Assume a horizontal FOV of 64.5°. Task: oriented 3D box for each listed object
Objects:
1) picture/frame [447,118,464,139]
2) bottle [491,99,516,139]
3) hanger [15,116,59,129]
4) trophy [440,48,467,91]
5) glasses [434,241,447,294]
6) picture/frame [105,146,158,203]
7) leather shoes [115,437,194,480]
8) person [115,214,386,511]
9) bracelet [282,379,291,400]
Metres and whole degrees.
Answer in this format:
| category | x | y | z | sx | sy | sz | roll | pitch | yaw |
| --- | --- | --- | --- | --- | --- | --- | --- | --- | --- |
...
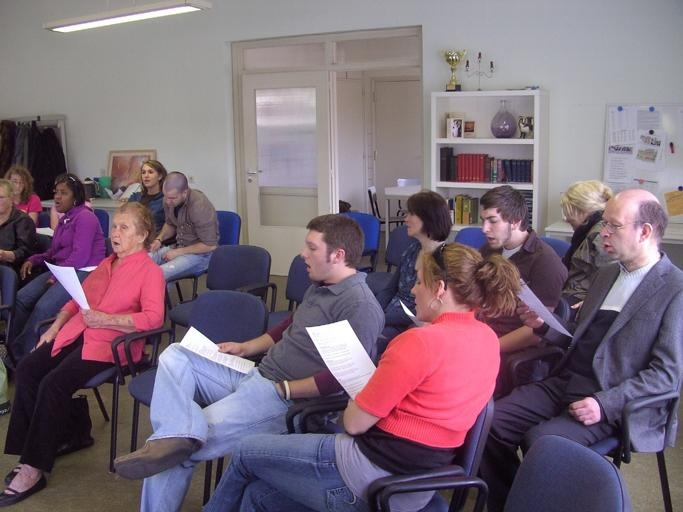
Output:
| category | x | y | z | sx | sy | sz | roll | pitch | yaw |
| --- | --- | --- | --- | --- | --- | --- | --- | --- | --- |
| picture/frame | 1.146 | -1.296 | 5.474 | 0.201 | 0.215 | 0.070 | 2 | 0 | -18 |
| bottle | 1.612 | -1.351 | 5.345 | 0.229 | 0.393 | 0.222 | -1 | 8 | 0 |
| hanger | -4.386 | -1.928 | 7.781 | 0.838 | 0.182 | 0.254 | 4 | 9 | 28 |
| trophy | 1.137 | -1.883 | 5.499 | 0.223 | 0.385 | 0.215 | -19 | 22 | -41 |
| glasses | 0.351 | 0.023 | 1.927 | 0.025 | 0.102 | 0.097 | -3 | -11 | 6 |
| picture/frame | -2.636 | -1.036 | 6.766 | 0.956 | 1.025 | 0.047 | 12 | 8 | 35 |
| leather shoes | -0.748 | 0.817 | 2.186 | 0.328 | 0.170 | 0.087 | -3 | 8 | -18 |
| person | -0.424 | 0.434 | 3.066 | 1.431 | 1.869 | 0.872 | 3 | 3 | -21 |
| bracelet | -0.250 | 0.590 | 2.383 | 0.019 | 0.067 | 0.061 | -4 | -14 | -1 |
